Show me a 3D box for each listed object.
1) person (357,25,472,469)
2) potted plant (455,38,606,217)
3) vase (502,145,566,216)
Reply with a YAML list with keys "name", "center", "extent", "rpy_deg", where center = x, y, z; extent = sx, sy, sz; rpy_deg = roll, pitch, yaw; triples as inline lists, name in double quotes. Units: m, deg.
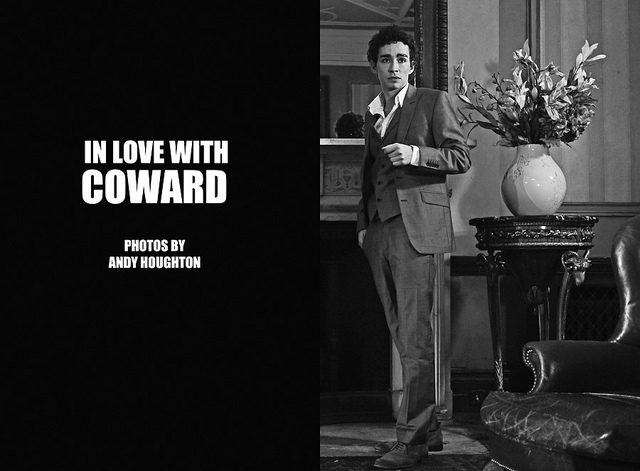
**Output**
- name: "person"
  center: [0.261, 0.026, 2.909]
  extent: [0.284, 1.344, 0.395]
  rpy_deg: [5, -5, -16]
- name: "potted plant"
  center: [0.737, -0.346, 3.286]
  extent: [0.460, 0.581, 0.370]
  rpy_deg: [0, -3, 27]
- name: "vase"
  center: [0.712, -0.185, 3.295]
  extent: [0.215, 0.293, 0.211]
  rpy_deg: [2, 2, 41]
